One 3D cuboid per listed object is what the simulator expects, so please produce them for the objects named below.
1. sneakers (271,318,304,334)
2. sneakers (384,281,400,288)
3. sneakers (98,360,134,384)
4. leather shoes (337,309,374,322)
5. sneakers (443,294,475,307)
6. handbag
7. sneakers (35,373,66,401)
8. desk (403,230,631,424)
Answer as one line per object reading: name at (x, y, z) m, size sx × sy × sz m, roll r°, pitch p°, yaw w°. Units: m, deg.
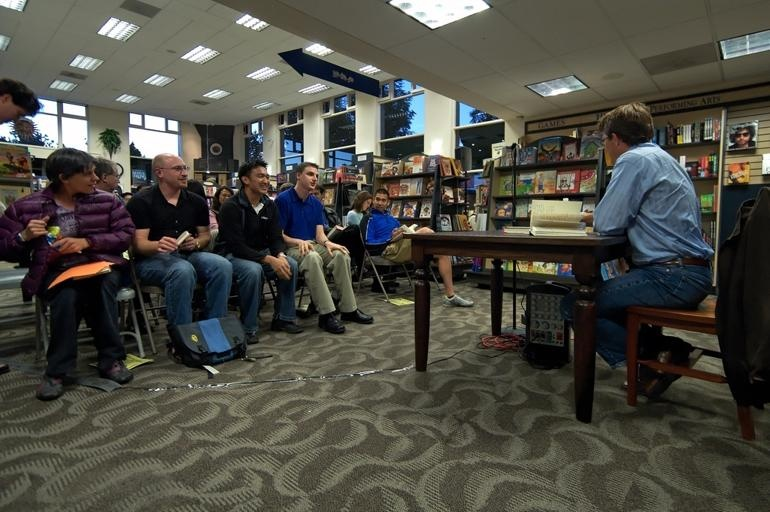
sneakers at (-0.962, 0.695, 4.742) m, size 0.358 × 0.155 × 0.124 m, roll -2°, pitch -3°, yaw 20°
sneakers at (0.110, 0.414, 7.119) m, size 0.126 × 0.056 × 0.162 m, roll 4°, pitch -4°, yaw -36°
sneakers at (-2.029, 0.867, 3.657) m, size 0.254 × 0.149 × 0.188 m, roll 6°, pitch 10°, yaw 40°
leather shoes at (-0.310, 0.623, 5.104) m, size 0.370 × 0.141 × 0.139 m, roll -3°, pitch -3°, yaw 20°
sneakers at (0.889, 0.535, 5.859) m, size 0.402 × 0.141 × 0.138 m, roll 1°, pitch -2°, yaw 3°
handbag at (-1.495, 0.681, 4.044) m, size 0.571 × 0.362 × 0.392 m, roll -8°, pitch -14°, yaw -43°
sneakers at (-2.354, 0.938, 3.397) m, size 0.113 × 0.093 × 0.235 m, roll 6°, pitch -6°, yaw -34°
desk at (1.189, 0.310, 3.815) m, size 1.414 × 0.963 × 1.434 m, roll 4°, pitch 8°, yaw 35°
